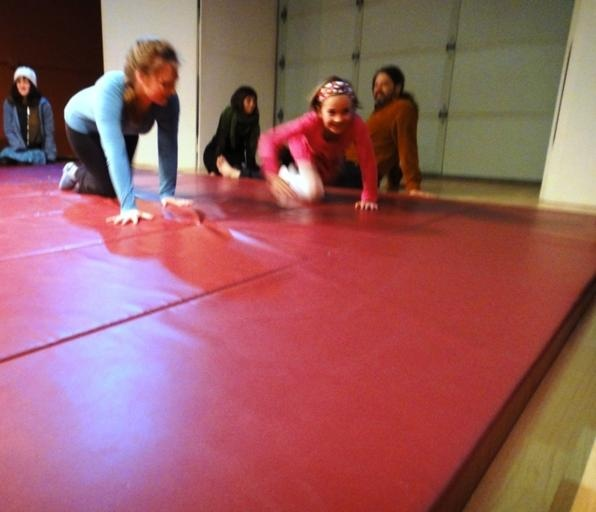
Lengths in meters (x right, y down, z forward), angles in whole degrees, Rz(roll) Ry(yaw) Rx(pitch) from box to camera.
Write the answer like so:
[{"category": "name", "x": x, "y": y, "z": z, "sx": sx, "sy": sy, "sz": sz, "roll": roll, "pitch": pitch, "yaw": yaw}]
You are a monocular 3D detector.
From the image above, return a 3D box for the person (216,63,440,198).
[{"category": "person", "x": 0.174, "y": -0.770, "z": 2.966, "sx": 0.935, "sy": 0.908, "sz": 0.740, "roll": 8, "pitch": 13, "yaw": -1}]

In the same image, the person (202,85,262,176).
[{"category": "person", "x": -0.505, "y": -1.075, "z": 3.658, "sx": 0.504, "sy": 0.837, "sz": 0.583, "roll": 9, "pitch": 7, "yaw": 17}]

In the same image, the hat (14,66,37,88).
[{"category": "hat", "x": -2.906, "y": -1.919, "z": 4.376, "sx": 0.190, "sy": 0.180, "sz": 0.236, "roll": -11, "pitch": 24, "yaw": -39}]

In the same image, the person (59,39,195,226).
[{"category": "person", "x": -0.775, "y": -0.538, "z": 1.730, "sx": 0.886, "sy": 0.702, "sz": 0.371, "roll": 19, "pitch": 23, "yaw": 37}]
